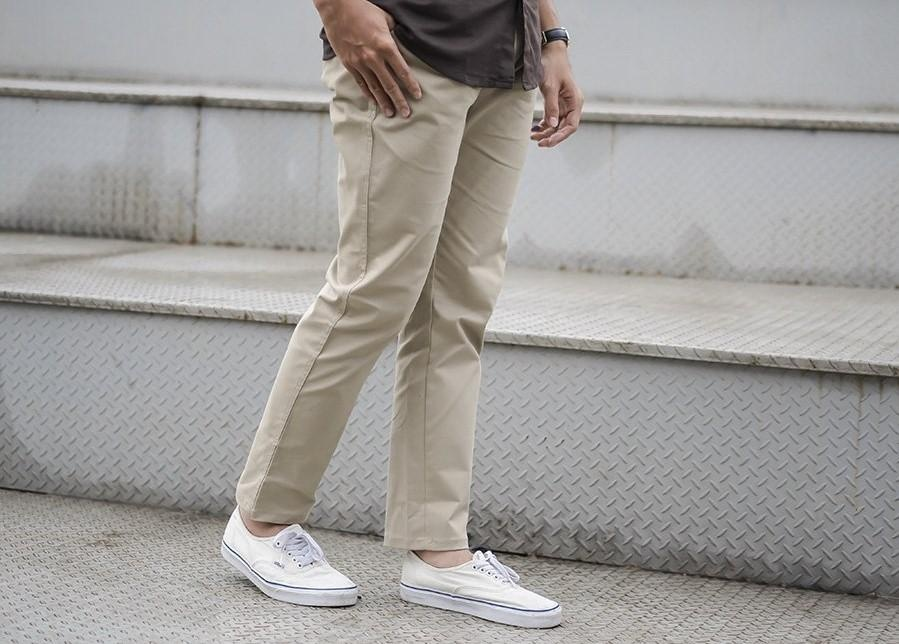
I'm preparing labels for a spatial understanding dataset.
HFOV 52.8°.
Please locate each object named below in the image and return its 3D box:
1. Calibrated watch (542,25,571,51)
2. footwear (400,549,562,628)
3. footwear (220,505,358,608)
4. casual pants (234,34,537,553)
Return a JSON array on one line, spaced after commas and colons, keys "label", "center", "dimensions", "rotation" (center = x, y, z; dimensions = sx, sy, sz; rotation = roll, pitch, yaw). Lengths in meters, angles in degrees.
[{"label": "Calibrated watch", "center": [0.223, -0.604, 1.901], "dimensions": [0.054, 0.031, 0.053], "rotation": [-5, -6, 5]}, {"label": "footwear", "center": [0.058, 0.537, 1.836], "dimensions": [0.359, 0.118, 0.124], "rotation": [4, -8, 26]}, {"label": "footwear", "center": [-0.319, 0.493, 1.856], "dimensions": [0.289, 0.109, 0.127], "rotation": [25, 11, 11]}, {"label": "casual pants", "center": [-0.120, -0.033, 1.767], "dimensions": [0.465, 0.929, 0.384], "rotation": [8, 24, -12]}]
